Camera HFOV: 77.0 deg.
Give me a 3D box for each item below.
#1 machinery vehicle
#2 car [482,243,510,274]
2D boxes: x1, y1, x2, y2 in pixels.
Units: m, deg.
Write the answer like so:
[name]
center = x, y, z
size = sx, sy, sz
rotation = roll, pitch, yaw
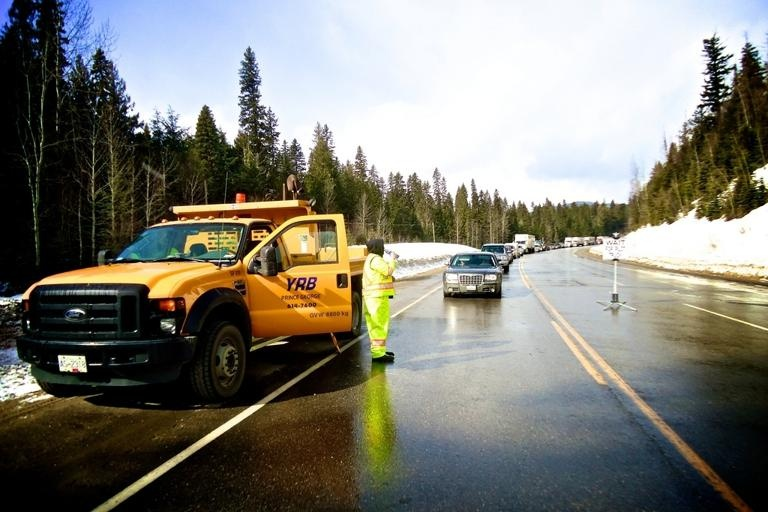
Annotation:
[machinery vehicle]
center = -2.915, 0.748, 9.071
size = 3.801, 2.290, 4.877
rotation = -2, -3, 20
[car]
center = 7.422, -0.044, 31.404
size = 1.612, 1.585, 3.582
rotation = -1, -6, 12
